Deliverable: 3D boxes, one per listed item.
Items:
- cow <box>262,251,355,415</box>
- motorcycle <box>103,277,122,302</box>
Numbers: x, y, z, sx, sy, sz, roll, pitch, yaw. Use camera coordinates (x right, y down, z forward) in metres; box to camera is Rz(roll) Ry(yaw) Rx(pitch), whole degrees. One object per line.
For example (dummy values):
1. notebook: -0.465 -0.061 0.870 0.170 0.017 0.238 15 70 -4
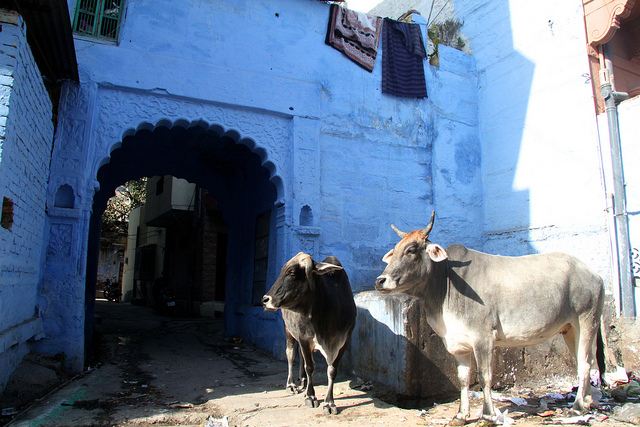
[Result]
1. cow: -0.112 1.459 5.680 1.332 1.901 0.735 5 -13 -18
2. motorcycle: -10.789 3.975 23.562 0.711 0.783 1.239 9 -5 -30
